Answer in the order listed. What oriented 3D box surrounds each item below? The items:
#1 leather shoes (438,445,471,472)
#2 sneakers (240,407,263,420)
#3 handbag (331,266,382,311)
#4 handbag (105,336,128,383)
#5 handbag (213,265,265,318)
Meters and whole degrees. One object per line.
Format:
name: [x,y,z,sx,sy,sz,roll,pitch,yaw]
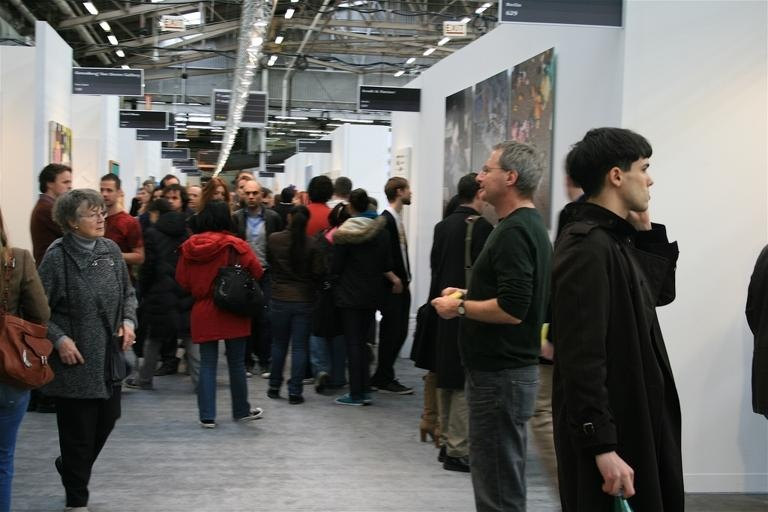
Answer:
leather shoes: [0.460,1.586,5.874,0.425,0.144,0.131,1,0,14]
sneakers: [-1.179,1.439,6.852,0.072,0.070,0.210,14,13,36]
handbag: [-0.222,0.335,7.172,0.455,0.369,0.428,-10,-26,26]
handbag: [-1.691,0.663,4.807,0.108,0.240,0.211,-4,-8,20]
handbag: [-1.220,0.291,6.270,0.490,0.414,0.243,6,-5,-16]
